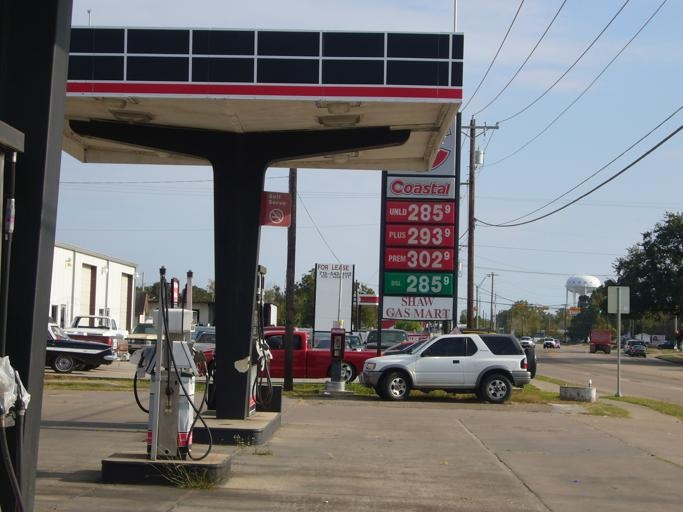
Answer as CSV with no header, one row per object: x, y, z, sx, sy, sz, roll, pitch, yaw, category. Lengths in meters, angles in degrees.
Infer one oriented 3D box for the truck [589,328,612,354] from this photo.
26.209,8.423,87.128,1.448,1.592,2.805,1,0,9,truck

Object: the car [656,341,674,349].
38.715,10.356,101.580,1.820,1.075,1.110,3,-5,7,car
